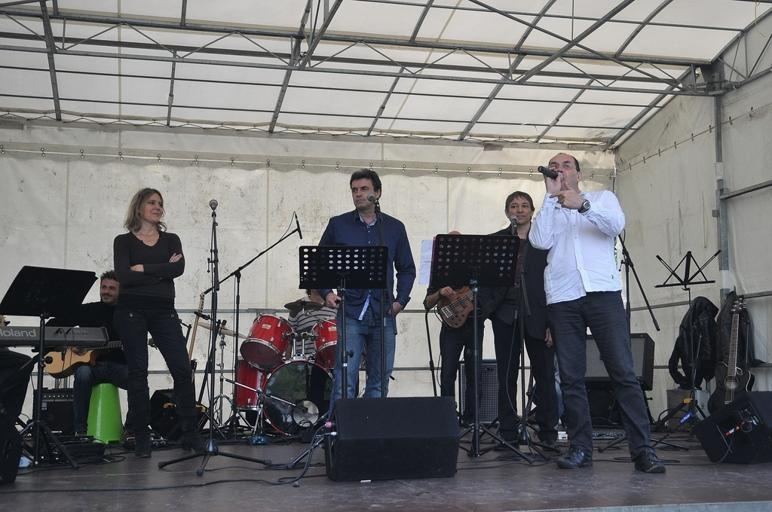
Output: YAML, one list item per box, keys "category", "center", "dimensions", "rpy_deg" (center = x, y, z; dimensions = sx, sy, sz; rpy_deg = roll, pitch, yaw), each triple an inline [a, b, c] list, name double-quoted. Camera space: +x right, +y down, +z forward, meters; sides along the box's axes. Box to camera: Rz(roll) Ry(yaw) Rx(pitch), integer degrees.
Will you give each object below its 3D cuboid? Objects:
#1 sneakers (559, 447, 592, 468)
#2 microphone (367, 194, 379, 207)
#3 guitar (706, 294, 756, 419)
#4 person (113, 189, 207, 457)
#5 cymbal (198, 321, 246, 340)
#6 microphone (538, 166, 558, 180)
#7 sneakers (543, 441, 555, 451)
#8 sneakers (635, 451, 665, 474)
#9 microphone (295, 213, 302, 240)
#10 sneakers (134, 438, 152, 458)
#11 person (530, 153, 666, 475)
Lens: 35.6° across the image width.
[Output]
- category: "sneakers"
  center: [1.945, 2.107, 12.490]
  dimensions: [0.362, 0.188, 0.165]
  rpy_deg: [8, -8, -17]
- category: "microphone"
  center: [-0.145, -0.601, 12.875]
  dimensions: [0.127, 0.134, 0.392]
  rpy_deg: [-8, 0, -4]
- category: "guitar"
  center: [4.463, 1.362, 15.519]
  dimensions: [0.652, 1.762, 0.219]
  rpy_deg: [-4, 22, -4]
- category: "person"
  center: [-2.554, 0.964, 13.287]
  dimensions: [0.977, 2.469, 0.661]
  rpy_deg: [3, -13, -20]
- category: "cymbal"
  center: [-2.160, 0.967, 15.605]
  dimensions: [0.312, 0.079, 0.322]
  rpy_deg: [24, -9, 5]
- category: "microphone"
  center: [1.680, -0.850, 12.498]
  dimensions: [0.203, 0.124, 0.076]
  rpy_deg: [21, -65, -39]
- category: "sneakers"
  center: [1.821, 2.113, 13.390]
  dimensions: [0.117, 0.137, 0.093]
  rpy_deg: [-4, -7, 27]
- category: "sneakers"
  center: [2.692, 2.132, 12.305]
  dimensions: [0.140, 0.183, 0.363]
  rpy_deg: [1, -13, -21]
- category: "microphone"
  center: [-1.226, -0.416, 16.787]
  dimensions: [0.054, 0.419, 0.046]
  rpy_deg: [-11, -1, 27]
- category: "sneakers"
  center: [-2.697, 2.119, 13.279]
  dimensions: [0.163, 0.249, 0.225]
  rpy_deg: [2, -13, -16]
- category: "person"
  center: [2.109, 0.591, 12.488]
  dimensions: [1.094, 3.337, 0.805]
  rpy_deg: [-4, -12, 11]
